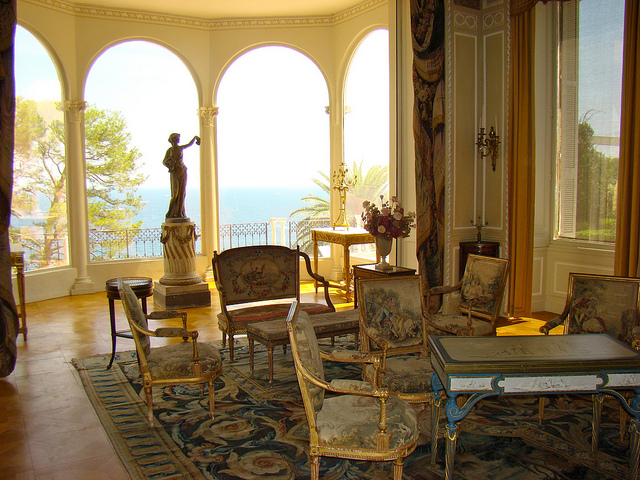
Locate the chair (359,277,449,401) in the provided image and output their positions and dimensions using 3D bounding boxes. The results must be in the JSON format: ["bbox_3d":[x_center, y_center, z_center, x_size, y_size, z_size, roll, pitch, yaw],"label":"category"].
[{"bbox_3d":[0.703,0.914,3.907,0.763,1.132,0.802,-3,8,-3],"label":"chair"}]

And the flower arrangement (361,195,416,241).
[{"bbox_3d":[0.797,-0.233,6.019,0.580,0.556,0.540,-1,14,42],"label":"flower arrangement"}]

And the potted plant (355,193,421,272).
[{"bbox_3d":[0.807,-0.067,6.075,0.633,0.761,0.579,4,0,36],"label":"potted plant"}]

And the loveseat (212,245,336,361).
[{"bbox_3d":[-0.529,0.662,5.579,1.541,1.116,0.629,-1,6,-44],"label":"loveseat"}]

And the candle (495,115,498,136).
[{"bbox_3d":[2.327,-1.543,6.481,0.044,0.254,0.072,3,11,19],"label":"candle"}]

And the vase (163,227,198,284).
[{"bbox_3d":[-2.126,0.228,7.460,0.523,0.843,0.386,-5,12,-23],"label":"vase"}]

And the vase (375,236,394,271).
[{"bbox_3d":[0.756,0.129,5.957,0.257,0.406,0.253,4,11,24],"label":"vase"}]

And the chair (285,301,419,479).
[{"bbox_3d":[0.217,0.933,3.712,1.168,1.511,1.059,-1,12,1],"label":"chair"}]

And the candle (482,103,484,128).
[{"bbox_3d":[2.186,-1.682,6.571,0.026,0.306,0.099,3,11,17],"label":"candle"}]

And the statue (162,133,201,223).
[{"bbox_3d":[-2.157,-0.974,7.626,0.544,1.396,1.011,-4,11,-16],"label":"statue"}]

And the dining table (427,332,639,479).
[{"bbox_3d":[1.407,0.944,3.561,1.595,1.091,0.890,-1,9,-2],"label":"dining table"}]

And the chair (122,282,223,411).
[{"bbox_3d":[-1.257,0.908,4.237,0.956,1.078,0.819,1,6,-30],"label":"chair"}]
